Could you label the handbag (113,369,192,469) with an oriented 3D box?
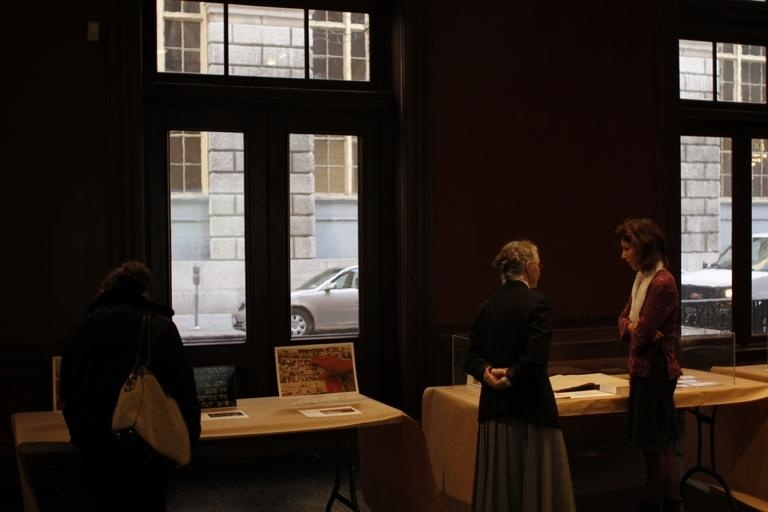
[{"bbox_3d":[-1.472,1.031,4.824,0.231,0.580,0.591,-19,44,13],"label":"handbag"}]
